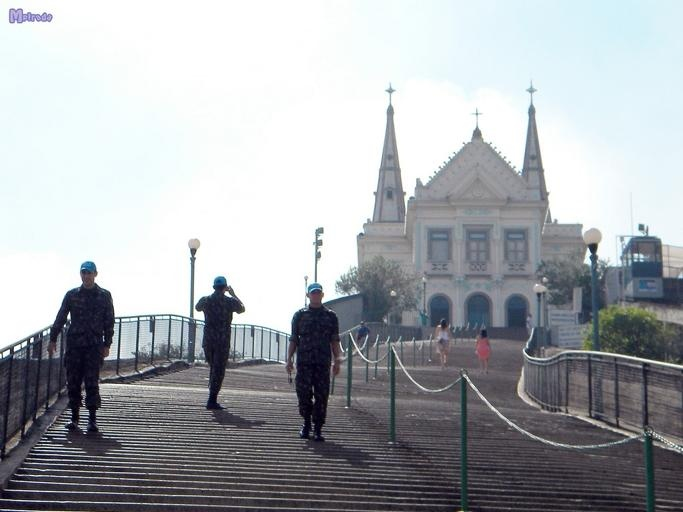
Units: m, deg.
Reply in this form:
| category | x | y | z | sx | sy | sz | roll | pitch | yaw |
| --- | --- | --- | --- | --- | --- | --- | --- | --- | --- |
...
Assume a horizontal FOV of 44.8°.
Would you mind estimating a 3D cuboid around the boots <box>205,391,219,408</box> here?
| category | x | y | z | sx | sy | sz | roll | pitch | yaw |
| --- | --- | --- | --- | --- | --- | --- | --- | --- | --- |
| boots | -1.909 | 2.164 | 12.279 | 0.250 | 0.350 | 0.151 | 1 | -6 | -6 |

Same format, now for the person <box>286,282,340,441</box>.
| category | x | y | z | sx | sy | sz | roll | pitch | yaw |
| --- | --- | --- | --- | --- | --- | --- | --- | --- | --- |
| person | -0.363 | 1.327 | 10.441 | 0.640 | 1.486 | 0.369 | 2 | -1 | -5 |

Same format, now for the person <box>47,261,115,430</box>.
| category | x | y | z | sx | sy | sz | roll | pitch | yaw |
| --- | --- | --- | --- | --- | --- | --- | --- | --- | --- |
| person | -3.299 | 1.117 | 10.504 | 0.731 | 1.977 | 0.638 | 2 | -1 | -12 |

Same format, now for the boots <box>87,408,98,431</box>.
| category | x | y | z | sx | sy | sz | roll | pitch | yaw |
| --- | --- | --- | --- | --- | --- | --- | --- | --- | --- |
| boots | -3.081 | 2.035 | 10.244 | 0.119 | 0.256 | 0.259 | 2 | -1 | -17 |

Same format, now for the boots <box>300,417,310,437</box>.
| category | x | y | z | sx | sy | sz | roll | pitch | yaw |
| --- | --- | --- | --- | --- | --- | --- | --- | --- | --- |
| boots | -0.448 | 2.217 | 10.515 | 0.086 | 0.224 | 0.286 | 1 | -19 | 4 |

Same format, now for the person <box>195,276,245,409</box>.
| category | x | y | z | sx | sy | sz | roll | pitch | yaw |
| --- | --- | --- | --- | --- | --- | --- | --- | --- | --- |
| person | -1.840 | 1.285 | 12.329 | 0.654 | 1.627 | 0.655 | 2 | -1 | -11 |

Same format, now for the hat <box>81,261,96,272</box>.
| category | x | y | z | sx | sy | sz | roll | pitch | yaw |
| --- | --- | --- | --- | --- | --- | --- | --- | --- | --- |
| hat | -3.202 | 0.146 | 10.506 | 0.175 | 0.127 | 0.156 | 2 | -1 | -26 |

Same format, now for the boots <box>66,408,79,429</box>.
| category | x | y | z | sx | sy | sz | roll | pitch | yaw |
| --- | --- | --- | --- | --- | --- | --- | --- | --- | --- |
| boots | -3.368 | 2.033 | 10.365 | 0.149 | 0.245 | 0.381 | 2 | -1 | -17 |
